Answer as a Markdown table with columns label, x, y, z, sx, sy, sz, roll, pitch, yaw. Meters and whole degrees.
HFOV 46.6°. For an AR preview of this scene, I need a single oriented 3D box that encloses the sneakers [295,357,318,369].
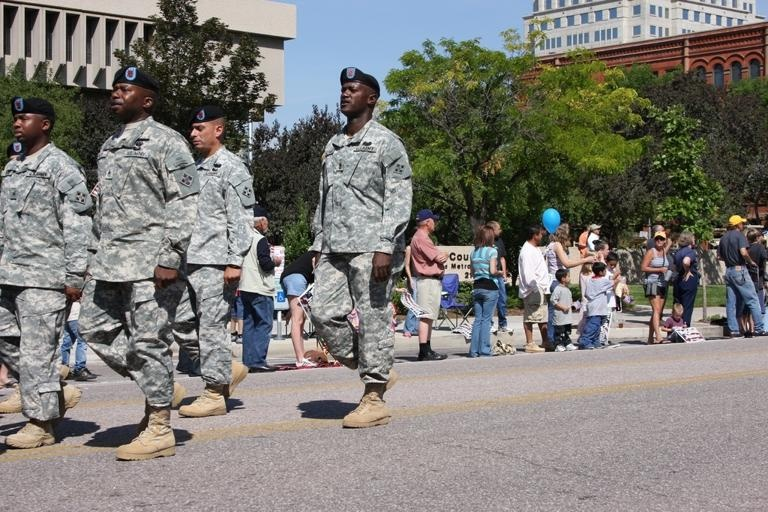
| label | x | y | z | sx | sy | sz | roll | pitch | yaw |
| --- | --- | --- | --- | --- | --- | --- | --- | --- | --- |
| sneakers | -1.125 | 1.538 | 12.810 | 0.308 | 0.112 | 0.123 | -2 | 4 | -2 |

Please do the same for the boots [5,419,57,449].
| label | x | y | z | sx | sy | sz | roll | pitch | yaw |
| --- | --- | --- | --- | --- | --- | --- | --- | --- | --- |
| boots | -3.099 | 1.573 | 7.825 | 0.467 | 0.288 | 0.198 | 6 | -7 | -21 |

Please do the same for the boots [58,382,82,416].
| label | x | y | z | sx | sy | sz | roll | pitch | yaw |
| --- | --- | --- | --- | --- | --- | --- | --- | --- | --- |
| boots | -2.986 | 1.328 | 8.456 | 0.377 | 0.244 | 0.133 | -17 | -16 | 38 |

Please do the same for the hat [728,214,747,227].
| label | x | y | z | sx | sy | sz | roll | pitch | yaw |
| --- | --- | --- | --- | --- | --- | --- | --- | --- | --- |
| hat | 6.915 | -0.712 | 17.306 | 0.583 | 0.202 | 0.423 | -7 | 7 | -43 |

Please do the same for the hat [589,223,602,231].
| label | x | y | z | sx | sy | sz | roll | pitch | yaw |
| --- | --- | --- | --- | --- | --- | --- | --- | --- | --- |
| hat | 5.427 | -0.759 | 22.454 | 0.438 | 0.129 | 0.280 | -7 | 6 | -19 |

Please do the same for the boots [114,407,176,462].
| label | x | y | z | sx | sy | sz | roll | pitch | yaw |
| --- | --- | --- | --- | --- | --- | --- | --- | --- | --- |
| boots | -2.048 | 1.514 | 7.559 | 0.520 | 0.433 | 0.234 | 5 | -17 | -44 |

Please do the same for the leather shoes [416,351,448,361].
| label | x | y | z | sx | sy | sz | roll | pitch | yaw |
| --- | --- | --- | --- | --- | --- | --- | --- | --- | --- |
| leather shoes | 0.737 | 1.541 | 13.736 | 0.445 | 0.163 | 0.150 | -2 | 3 | -12 |

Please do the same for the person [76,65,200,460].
| label | x | y | z | sx | sy | sz | roll | pitch | yaw |
| --- | --- | --- | --- | --- | --- | --- | --- | --- | --- |
| person | -2.100 | 0.024 | 7.614 | 0.970 | 3.378 | 0.458 | 1 | -2 | -5 |

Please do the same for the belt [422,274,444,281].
| label | x | y | z | sx | sy | sz | roll | pitch | yaw |
| --- | --- | --- | --- | --- | --- | --- | --- | --- | --- |
| belt | 0.742 | 0.297 | 13.566 | 0.292 | 0.081 | 0.094 | 1 | -1 | -16 |

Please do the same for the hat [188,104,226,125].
| label | x | y | z | sx | sy | sz | roll | pitch | yaw |
| --- | --- | --- | --- | --- | --- | --- | --- | --- | --- |
| hat | -1.870 | -1.544 | 9.492 | 0.323 | 0.149 | 0.241 | -1 | -3 | -42 |

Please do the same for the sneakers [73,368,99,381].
| label | x | y | z | sx | sy | sz | roll | pitch | yaw |
| --- | --- | --- | --- | --- | --- | --- | --- | --- | --- |
| sneakers | -4.053 | 1.598 | 12.037 | 0.289 | 0.114 | 0.153 | 0 | 2 | -9 |

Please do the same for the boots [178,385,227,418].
| label | x | y | z | sx | sy | sz | roll | pitch | yaw |
| --- | --- | --- | --- | --- | --- | --- | --- | --- | --- |
| boots | -1.797 | 1.493 | 8.984 | 0.605 | 0.372 | 0.207 | 5 | -6 | -15 |

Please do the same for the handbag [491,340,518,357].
| label | x | y | z | sx | sy | sz | roll | pitch | yaw |
| --- | --- | --- | --- | --- | --- | --- | --- | --- | --- |
| handbag | 1.999 | 1.539 | 14.892 | 0.211 | 0.158 | 0.402 | 1 | 2 | 19 |

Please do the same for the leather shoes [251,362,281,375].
| label | x | y | z | sx | sy | sz | roll | pitch | yaw |
| --- | --- | --- | --- | --- | --- | --- | --- | --- | --- |
| leather shoes | -1.628 | 1.532 | 12.211 | 0.404 | 0.137 | 0.125 | -2 | -1 | -7 |

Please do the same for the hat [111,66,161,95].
| label | x | y | z | sx | sy | sz | roll | pitch | yaw |
| --- | --- | --- | --- | --- | --- | --- | --- | --- | --- |
| hat | -2.146 | -1.548 | 7.723 | 0.277 | 0.114 | 0.317 | 8 | -3 | 45 |

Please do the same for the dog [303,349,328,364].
| label | x | y | z | sx | sy | sz | roll | pitch | yaw |
| --- | --- | --- | --- | --- | --- | --- | --- | --- | --- |
| dog | -1.060 | 1.463 | 13.099 | 0.427 | 0.165 | 0.145 | 8 | 15 | 30 |

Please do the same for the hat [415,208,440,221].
| label | x | y | z | sx | sy | sz | roll | pitch | yaw |
| --- | --- | --- | --- | --- | --- | --- | --- | --- | --- |
| hat | 0.700 | -0.661 | 13.996 | 0.367 | 0.173 | 0.245 | -1 | 2 | -19 |

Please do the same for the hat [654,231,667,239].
| label | x | y | z | sx | sy | sz | roll | pitch | yaw |
| --- | --- | --- | --- | --- | --- | --- | --- | --- | --- |
| hat | 5.310 | -0.419 | 17.096 | 0.156 | 0.172 | 0.218 | -6 | -5 | 19 |

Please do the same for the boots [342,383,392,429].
| label | x | y | z | sx | sy | sz | roll | pitch | yaw |
| --- | --- | --- | --- | --- | --- | --- | --- | --- | --- |
| boots | -0.187 | 1.437 | 8.531 | 0.216 | 0.354 | 0.596 | 3 | 0 | 42 |
